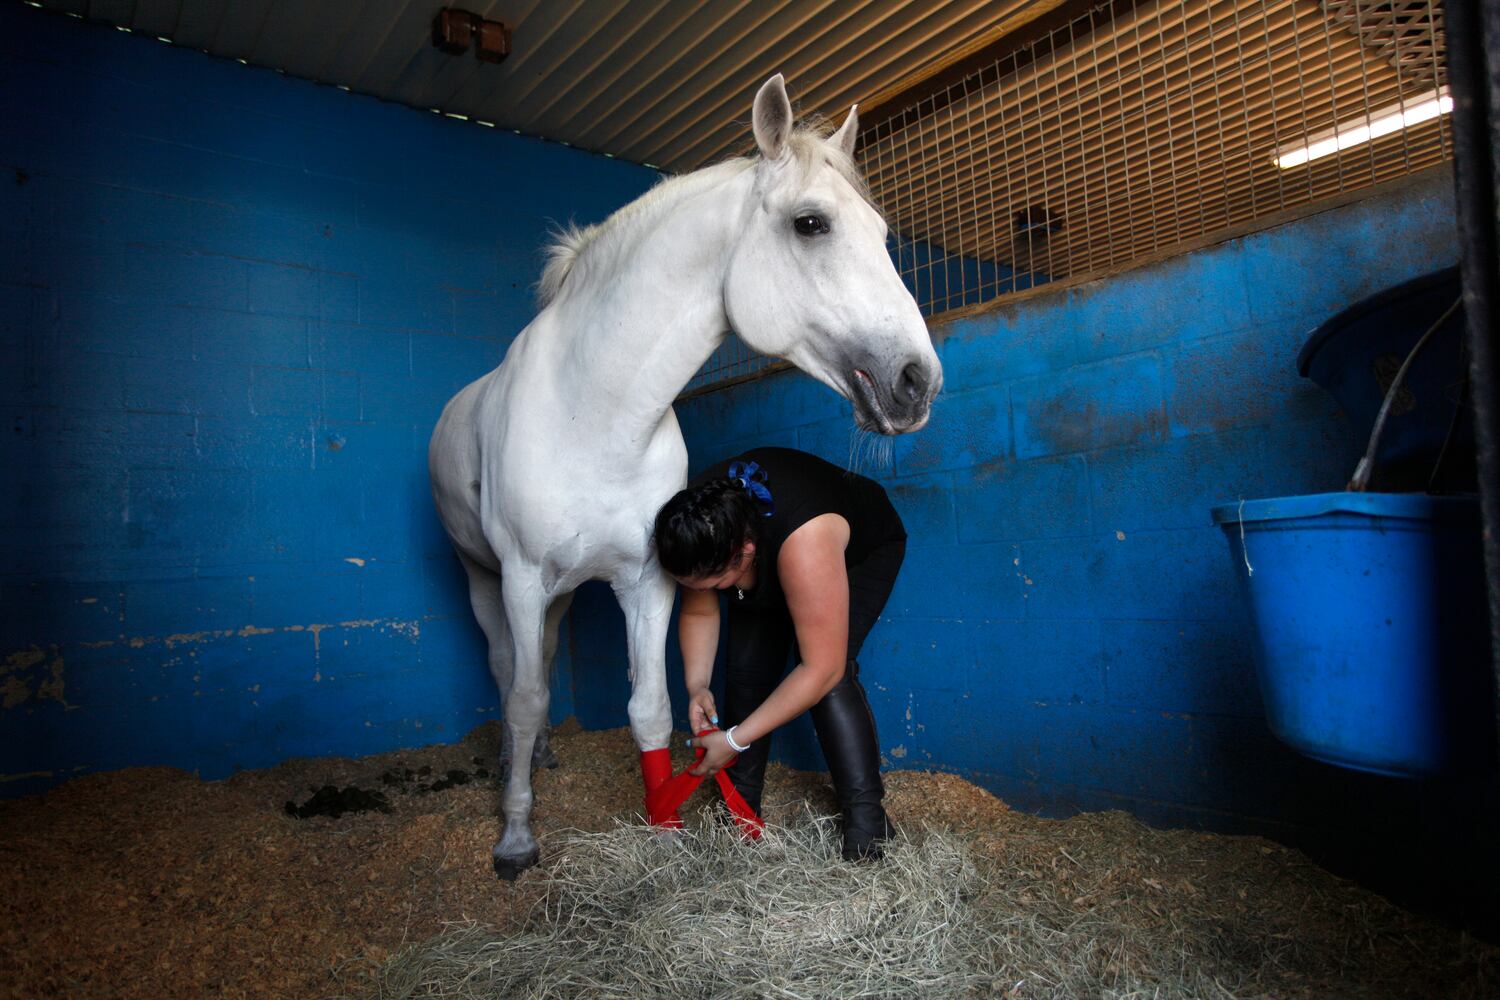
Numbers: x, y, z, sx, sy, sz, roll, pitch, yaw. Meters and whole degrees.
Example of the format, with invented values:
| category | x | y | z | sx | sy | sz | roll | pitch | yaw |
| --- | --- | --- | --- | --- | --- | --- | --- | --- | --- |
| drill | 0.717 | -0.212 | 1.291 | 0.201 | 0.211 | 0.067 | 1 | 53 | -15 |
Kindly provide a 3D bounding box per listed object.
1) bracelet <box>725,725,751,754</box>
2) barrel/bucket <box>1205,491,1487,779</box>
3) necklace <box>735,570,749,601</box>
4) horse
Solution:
| category | x | y | z | sx | sy | sz | roll | pitch | yaw |
| --- | --- | --- | --- | --- | --- | --- | --- | --- | --- |
| bracelet | -0.046 | 0.712 | 2.699 | 0.074 | 0.081 | 0.028 | 12 | -12 | -11 |
| barrel/bucket | 1.328 | 0.327 | 2.259 | 0.578 | 0.620 | 0.547 | 0 | -7 | 0 |
| necklace | -0.025 | 0.283 | 2.905 | 0.020 | 0.081 | 0.054 | 8 | 0 | -3 |
| horse | -0.575 | 0.207 | 3.204 | 0.848 | 2.155 | 2.695 | 5 | -11 | -33 |
